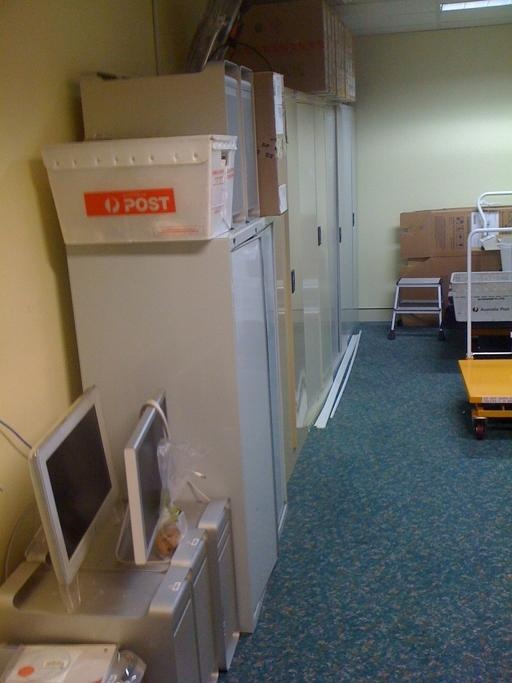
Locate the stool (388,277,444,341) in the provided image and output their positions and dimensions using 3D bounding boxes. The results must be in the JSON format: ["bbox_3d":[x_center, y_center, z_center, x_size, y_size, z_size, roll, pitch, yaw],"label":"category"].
[{"bbox_3d":[1.758,-0.409,5.829,0.458,0.590,0.722,1,19,9],"label":"stool"}]
